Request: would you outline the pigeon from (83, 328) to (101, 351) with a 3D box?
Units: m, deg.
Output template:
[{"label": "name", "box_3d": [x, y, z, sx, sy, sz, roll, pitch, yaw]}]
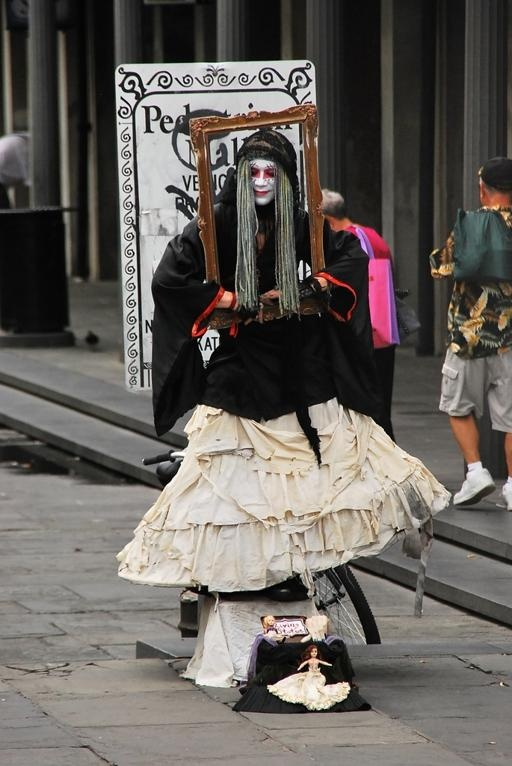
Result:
[{"label": "pigeon", "box_3d": [-2.010, -0.557, 15.857, 0.228, 0.272, 0.140, -3, 13, 27]}]

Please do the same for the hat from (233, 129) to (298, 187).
[{"label": "hat", "box_3d": [0.054, -0.734, 4.093, 0.164, 0.161, 0.204, -9, 9, 11]}]

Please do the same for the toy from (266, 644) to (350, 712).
[{"label": "toy", "box_3d": [0.148, 0.832, 3.633, 0.200, 0.109, 0.157, 0, -1, -5]}]

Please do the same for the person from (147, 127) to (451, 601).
[{"label": "person", "box_3d": [0.032, -0.081, 4.175, 1.186, 1.309, 0.745, -3, 8, 2]}]

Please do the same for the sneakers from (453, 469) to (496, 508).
[{"label": "sneakers", "box_3d": [1.164, 0.562, 6.910, 0.125, 0.127, 0.291, -10, -19, -25]}]

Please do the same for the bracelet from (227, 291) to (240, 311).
[{"label": "bracelet", "box_3d": [-0.070, -0.258, 3.950, 0.041, 0.048, 0.039, -5, -1, 3]}]
